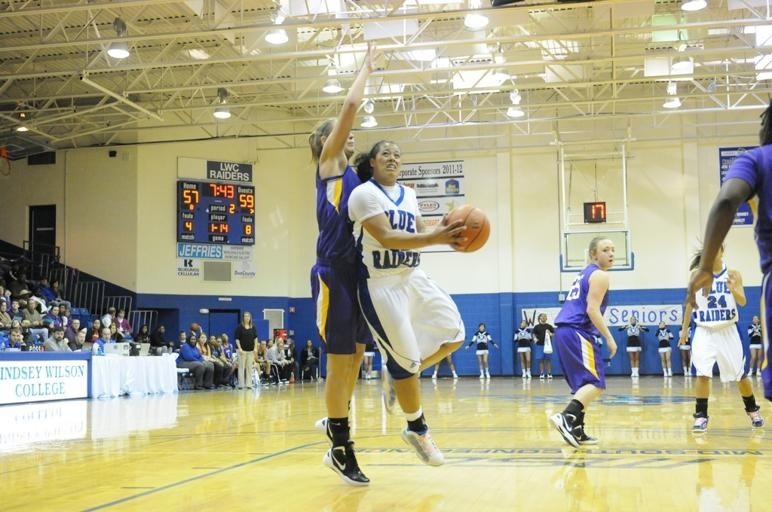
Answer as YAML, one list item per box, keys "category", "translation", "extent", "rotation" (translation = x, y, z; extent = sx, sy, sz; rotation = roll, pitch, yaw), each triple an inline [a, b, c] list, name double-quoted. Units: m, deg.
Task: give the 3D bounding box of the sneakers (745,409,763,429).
- category: "sneakers"
  translation: [4.613, 2.055, 9.168]
  extent: [0.136, 0.165, 0.410]
  rotation: [-18, -16, 7]

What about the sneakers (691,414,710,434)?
- category: "sneakers"
  translation: [3.753, 2.031, 8.777]
  extent: [0.112, 0.190, 0.262]
  rotation: [-8, -8, 40]

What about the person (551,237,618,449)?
- category: "person"
  translation: [2.303, 0.940, 8.535]
  extent: [0.785, 2.404, 1.008]
  rotation: [-4, -7, 17]

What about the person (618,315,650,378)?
- category: "person"
  translation: [7.610, 2.797, 22.526]
  extent: [0.707, 1.835, 1.278]
  rotation: [-6, -7, 26]

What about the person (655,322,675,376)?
- category: "person"
  translation: [8.546, 2.834, 22.443]
  extent: [0.469, 1.642, 1.006]
  rotation: [-5, -7, 20]

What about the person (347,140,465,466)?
- category: "person"
  translation: [0.187, 0.421, 6.969]
  extent: [1.007, 3.178, 0.816]
  rotation: [-3, -7, 4]
